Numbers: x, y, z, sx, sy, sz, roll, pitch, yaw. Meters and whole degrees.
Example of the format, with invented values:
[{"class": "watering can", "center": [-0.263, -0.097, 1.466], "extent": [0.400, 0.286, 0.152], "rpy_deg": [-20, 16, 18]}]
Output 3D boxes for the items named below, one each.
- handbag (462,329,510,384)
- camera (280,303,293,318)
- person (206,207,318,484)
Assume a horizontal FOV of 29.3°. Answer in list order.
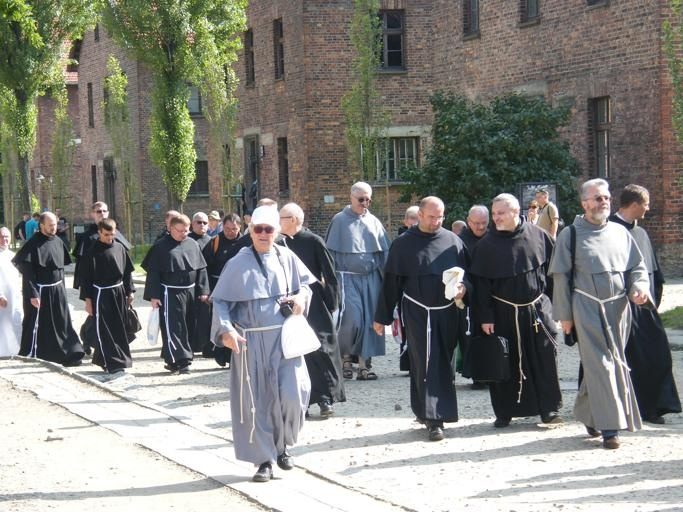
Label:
[{"class": "handbag", "center": [2.104, 1.444, 18.830], "extent": [0.826, 0.801, 0.270], "rpy_deg": [-1, 0, 34]}, {"class": "camera", "center": [-0.747, 0.737, 17.636], "extent": [0.183, 0.173, 0.202], "rpy_deg": [7, -30, 0]}, {"class": "person", "center": [-1.017, 1.164, 17.583], "extent": [1.325, 3.526, 1.047], "rpy_deg": [-8, 15, -25]}]
